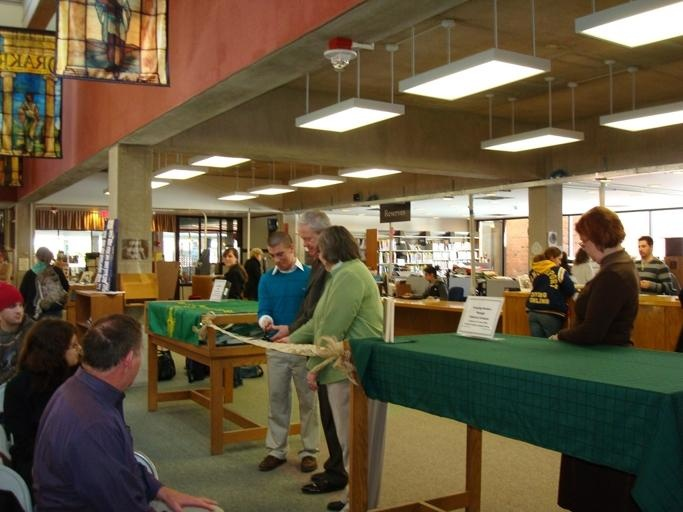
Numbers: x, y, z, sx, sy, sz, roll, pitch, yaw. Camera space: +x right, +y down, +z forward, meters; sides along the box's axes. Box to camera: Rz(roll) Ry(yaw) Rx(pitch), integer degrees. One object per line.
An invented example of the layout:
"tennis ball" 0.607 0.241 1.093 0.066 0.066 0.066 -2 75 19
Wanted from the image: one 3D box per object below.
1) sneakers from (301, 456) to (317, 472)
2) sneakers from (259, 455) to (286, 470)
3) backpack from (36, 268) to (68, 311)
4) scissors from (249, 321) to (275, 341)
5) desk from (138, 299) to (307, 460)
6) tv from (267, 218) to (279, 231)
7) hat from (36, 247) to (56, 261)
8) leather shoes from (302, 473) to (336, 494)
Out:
"sneakers" -0.258 1.640 4.603 0.081 0.124 0.132 2 -12 -2
"sneakers" -0.556 1.656 4.696 0.079 0.093 0.220 -9 -15 42
"backpack" -3.850 0.418 7.967 0.379 0.552 0.308 -6 14 19
"scissors" -0.719 0.668 5.067 0.218 0.226 0.169 -1 -3 30
"desk" -1.237 1.051 5.945 1.199 1.170 1.983 -1 0 -31
"tv" -2.253 -1.019 19.179 0.417 0.391 0.103 -4 -11 39
"hat" -4.178 -0.023 8.287 0.183 0.227 0.221 0 7 -19
"leather shoes" -0.157 1.653 4.266 0.271 0.115 0.103 2 -5 -1
